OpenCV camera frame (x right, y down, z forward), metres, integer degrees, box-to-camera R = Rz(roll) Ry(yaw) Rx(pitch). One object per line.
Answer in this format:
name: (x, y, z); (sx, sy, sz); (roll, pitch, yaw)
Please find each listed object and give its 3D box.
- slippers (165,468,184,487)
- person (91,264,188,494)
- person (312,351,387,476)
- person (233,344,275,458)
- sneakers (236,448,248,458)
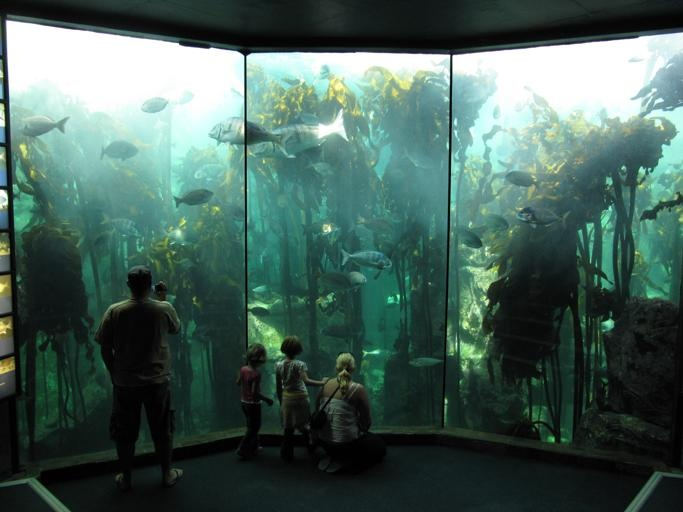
slippers: (-1.736, 2.296, 6.835); (0.085, 0.126, 0.203); (5, 13, 15)
person: (-2.033, 1.245, 6.674); (0.791, 2.324, 0.313); (-2, 0, -20)
person: (0.036, 1.714, 7.367); (0.976, 1.134, 0.820); (8, -11, -33)
person: (-0.969, 1.599, 7.224); (0.363, 1.264, 0.414); (-2, 1, -22)
sneakers: (-1.091, 2.173, 7.282); (0.084, 0.099, 0.150); (15, -23, 23)
